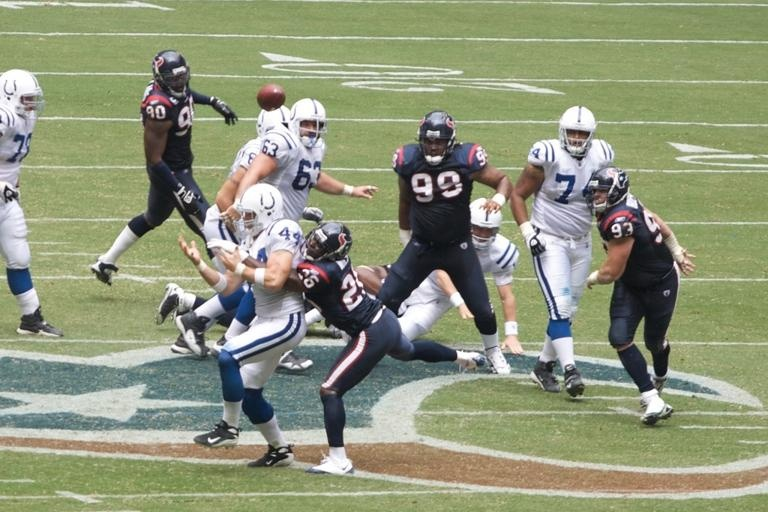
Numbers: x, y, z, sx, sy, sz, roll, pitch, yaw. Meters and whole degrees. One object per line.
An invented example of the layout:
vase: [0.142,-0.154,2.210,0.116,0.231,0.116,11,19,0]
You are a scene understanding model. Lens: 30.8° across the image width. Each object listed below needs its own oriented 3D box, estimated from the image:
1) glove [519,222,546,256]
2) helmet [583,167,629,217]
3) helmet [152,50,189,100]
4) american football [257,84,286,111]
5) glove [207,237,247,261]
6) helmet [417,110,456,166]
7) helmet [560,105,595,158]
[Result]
glove: [1.613,-0.206,15.250,0.179,0.269,0.379,-28,63,-19]
helmet: [2.357,-0.746,14.711,0.609,0.388,0.411,-7,7,-25]
helmet: [-2.518,-2.186,16.625,0.409,0.554,0.277,1,16,-11]
american football: [-1.330,-1.901,16.592,0.476,0.259,0.317,-6,13,-3]
glove: [-1.542,-0.066,13.640,0.413,0.087,0.213,2,16,-18]
helmet: [0.563,-1.275,14.961,0.468,0.432,0.544,3,8,11]
helmet: [2.108,-1.337,15.329,0.459,0.422,0.529,7,-7,1]
